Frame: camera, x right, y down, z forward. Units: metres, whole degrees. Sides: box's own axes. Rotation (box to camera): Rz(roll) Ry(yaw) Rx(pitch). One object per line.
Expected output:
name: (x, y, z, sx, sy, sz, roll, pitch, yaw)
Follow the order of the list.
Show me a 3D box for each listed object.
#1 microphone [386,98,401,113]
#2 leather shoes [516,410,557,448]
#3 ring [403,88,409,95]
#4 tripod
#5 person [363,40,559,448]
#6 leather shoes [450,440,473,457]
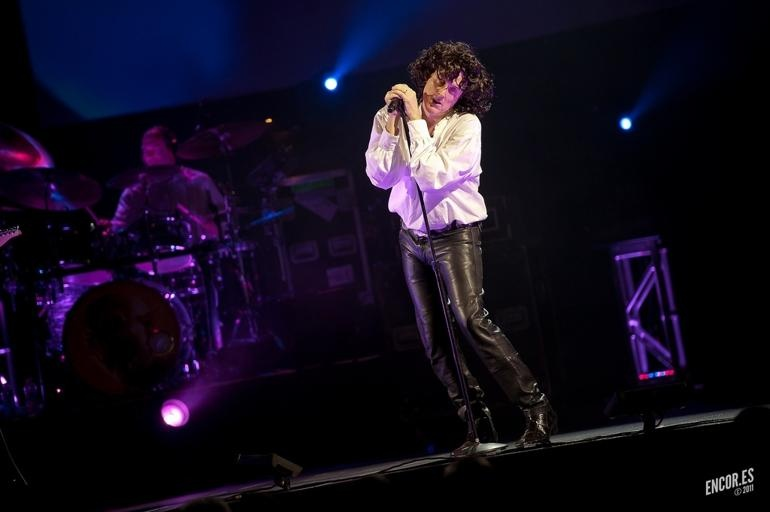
microphone: (0.056, -0.951, 4.060, 0.099, 0.074, 0.063, -11, -4, 31)
leather shoes: (0.945, 1.051, 4.051, 0.323, 0.220, 0.115, -10, 4, -24)
ring: (0.141, -1.058, 4.079, 0.039, 0.039, 0.010, 3, -7, -34)
tripod: (-1.268, -0.106, 5.546, 0.180, 1.203, 0.309, -8, -4, -15)
person: (0.433, -0.139, 4.227, 0.929, 2.359, 0.687, -9, -4, 4)
leather shoes: (0.485, 1.206, 3.995, 0.127, 0.045, 0.089, -25, -16, -3)
